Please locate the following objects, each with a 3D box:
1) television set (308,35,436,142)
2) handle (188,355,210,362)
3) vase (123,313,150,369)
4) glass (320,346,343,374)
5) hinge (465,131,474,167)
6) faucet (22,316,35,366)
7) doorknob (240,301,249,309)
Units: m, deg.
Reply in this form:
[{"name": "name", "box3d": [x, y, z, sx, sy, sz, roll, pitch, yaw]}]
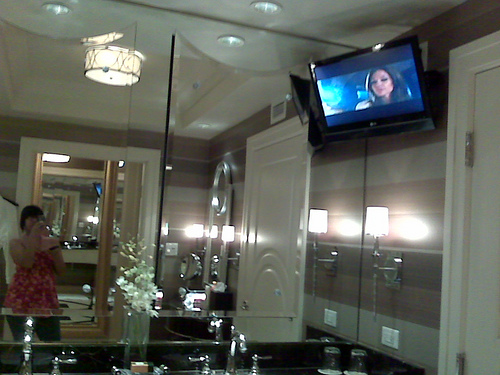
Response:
[{"name": "television set", "box3d": [0.733, -0.561, 2.380, 0.699, 0.528, 0.097, -3, 19, 37]}, {"name": "handle", "box3d": [-0.281, 0.946, 2.233, 0.114, 0.032, 0.009, 6, -9, -18]}, {"name": "vase", "box3d": [-0.604, 0.806, 2.128, 0.131, 0.278, 0.064, 3, -9, 2]}, {"name": "glass", "box3d": [0.475, 1.022, 2.425, 0.153, 0.138, 0.139, 1, -17, 2]}, {"name": "hinge", "box3d": [1.153, -0.201, 2.121, 0.034, 0.174, 0.030, 2, -9, 12]}, {"name": "faucet", "box3d": [-1.093, 0.754, 1.992, 0.048, 0.214, 0.124, 8, -10, -26]}, {"name": "doorknob", "box3d": [-0.033, 0.684, 2.344, 0.039, 0.039, 0.031, 2, 3, -14]}]
